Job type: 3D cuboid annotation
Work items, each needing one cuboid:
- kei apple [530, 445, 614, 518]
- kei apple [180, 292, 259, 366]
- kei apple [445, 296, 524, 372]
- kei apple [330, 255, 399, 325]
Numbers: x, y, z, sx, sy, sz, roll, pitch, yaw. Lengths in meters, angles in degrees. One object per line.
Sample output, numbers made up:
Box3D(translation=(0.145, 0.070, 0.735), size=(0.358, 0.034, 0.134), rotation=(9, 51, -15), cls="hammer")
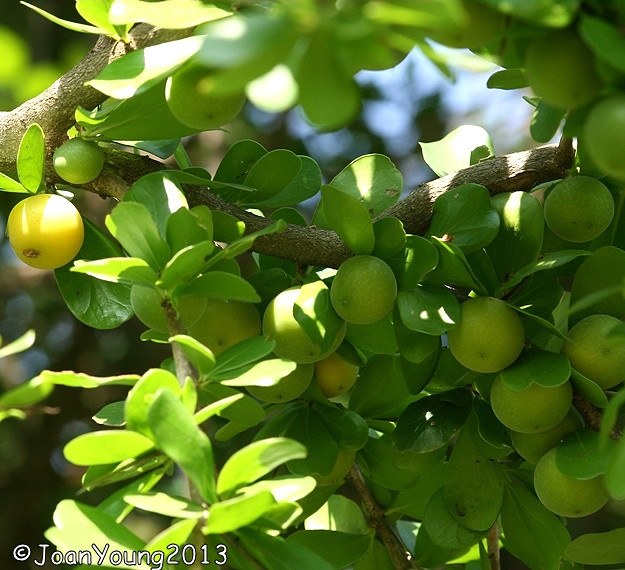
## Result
Box3D(translation=(0.361, 0.278, 1.083), size=(0.103, 0.096, 0.060), rotation=(29, 52, 19), cls="kei apple")
Box3D(translation=(-0.123, 0.056, 1.149), size=(0.110, 0.083, 0.107), rotation=(11, 26, 3), cls="kei apple")
Box3D(translation=(0.221, 0.070, 1.148), size=(0.132, 0.098, 0.123), rotation=(4, 33, -2), cls="kei apple")
Box3D(translation=(0.073, 0.008, 1.135), size=(0.117, 0.098, 0.099), rotation=(3, 76, 0), cls="kei apple")
